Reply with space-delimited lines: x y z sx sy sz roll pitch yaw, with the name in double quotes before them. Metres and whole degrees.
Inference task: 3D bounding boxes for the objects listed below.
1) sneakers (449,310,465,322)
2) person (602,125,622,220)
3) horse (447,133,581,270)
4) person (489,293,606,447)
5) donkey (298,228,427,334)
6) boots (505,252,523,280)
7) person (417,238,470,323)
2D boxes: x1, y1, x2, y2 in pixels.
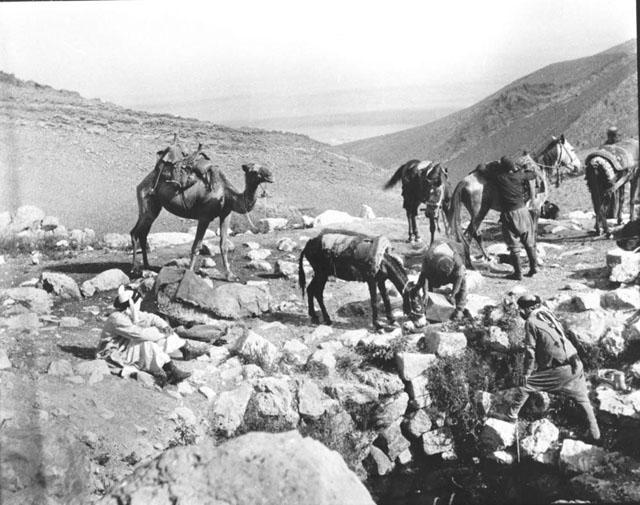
"sneakers" 1.967 0.883 7.858 0.193 0.134 0.135 5 14 14
"person" 5.527 -1.610 10.376 0.286 1.703 0.372 -7 13 -25
"horse" 3.564 -0.992 10.005 2.602 2.030 0.716 -11 13 -10
"person" 2.874 1.543 6.900 0.820 1.866 1.314 -24 37 -32
"donkey" 0.568 0.406 8.072 1.876 1.482 0.556 7 18 21
"boots" 3.270 0.169 9.124 0.222 0.460 0.377 6 14 18
"person" 1.829 0.339 8.240 0.816 1.087 1.219 5 12 17
